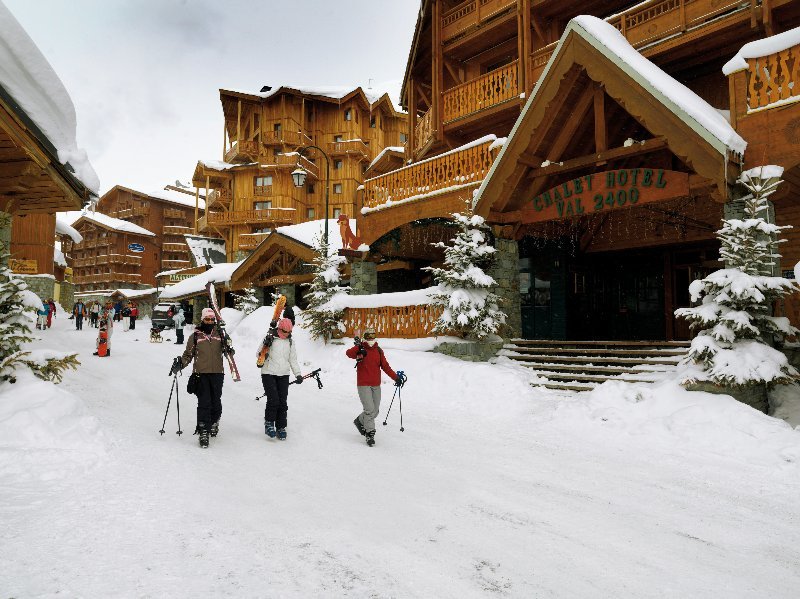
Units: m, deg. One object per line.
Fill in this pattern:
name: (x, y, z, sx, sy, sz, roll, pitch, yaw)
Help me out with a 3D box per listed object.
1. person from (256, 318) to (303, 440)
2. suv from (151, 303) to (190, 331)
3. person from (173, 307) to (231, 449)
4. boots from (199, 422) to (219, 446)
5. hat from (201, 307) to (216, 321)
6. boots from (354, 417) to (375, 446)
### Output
person: (-2.238, 1.459, 12.024, 0.677, 2.168, 0.812, 4, 8, 23)
suv: (-13.658, 1.040, 38.539, 1.135, 1.130, 2.192, -1, 11, 1)
person: (-3.488, 1.332, 11.493, 0.873, 2.300, 1.250, 2, 7, 5)
boots: (-3.308, 2.309, 11.190, 0.235, 0.390, 0.825, 0, -10, -11)
hat: (-3.489, 0.235, 11.721, 0.233, 0.225, 0.191, 40, 17, 31)
boots: (-0.619, 2.436, 11.981, 0.199, 0.292, 0.631, 1, 6, -28)
